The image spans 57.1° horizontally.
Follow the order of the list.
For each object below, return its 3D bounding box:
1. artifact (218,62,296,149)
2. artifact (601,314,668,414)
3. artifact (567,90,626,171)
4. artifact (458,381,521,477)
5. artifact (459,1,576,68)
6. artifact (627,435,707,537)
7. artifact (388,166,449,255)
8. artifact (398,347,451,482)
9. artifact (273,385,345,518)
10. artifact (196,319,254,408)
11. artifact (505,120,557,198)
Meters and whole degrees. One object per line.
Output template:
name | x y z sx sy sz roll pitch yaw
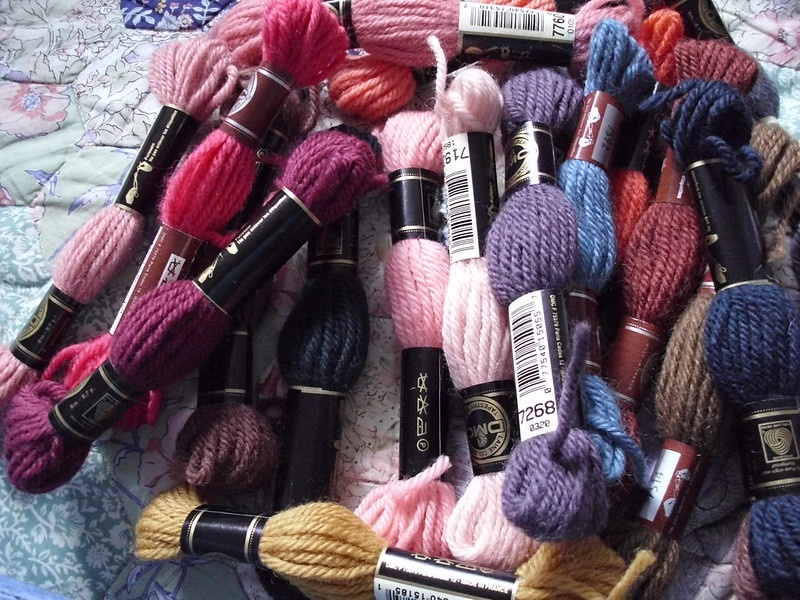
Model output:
artifact | -0.318 -0.425 1.606 0.084 0.131 0.171 26 51 31
artifact | 0.501 0.131 1.600 0.096 0.074 0.211 18 87 41
artifact | 0.425 -0.359 1.624 0.087 0.093 0.160 17 87 16
artifact | 0.181 0.265 1.493 0.113 0.159 0.135 -2 42 4
artifact | 0.266 -0.611 1.683 0.189 0.090 0.096 6 69 1
artifact | 0.557 0.380 1.531 0.103 0.204 0.081 19 16 18
artifact | 0.035 -0.206 1.638 0.119 0.137 0.139 -4 42 2
artifact | 0.057 0.210 1.607 0.090 0.376 0.095 -14 42 -14
artifact | -0.197 0.314 1.608 0.127 0.313 0.099 2 18 -15
artifact | -0.389 0.147 1.617 0.109 0.122 0.150 -3 42 3
artifact | 0.282 -0.307 1.613 0.110 0.134 0.112 -5 0 42
